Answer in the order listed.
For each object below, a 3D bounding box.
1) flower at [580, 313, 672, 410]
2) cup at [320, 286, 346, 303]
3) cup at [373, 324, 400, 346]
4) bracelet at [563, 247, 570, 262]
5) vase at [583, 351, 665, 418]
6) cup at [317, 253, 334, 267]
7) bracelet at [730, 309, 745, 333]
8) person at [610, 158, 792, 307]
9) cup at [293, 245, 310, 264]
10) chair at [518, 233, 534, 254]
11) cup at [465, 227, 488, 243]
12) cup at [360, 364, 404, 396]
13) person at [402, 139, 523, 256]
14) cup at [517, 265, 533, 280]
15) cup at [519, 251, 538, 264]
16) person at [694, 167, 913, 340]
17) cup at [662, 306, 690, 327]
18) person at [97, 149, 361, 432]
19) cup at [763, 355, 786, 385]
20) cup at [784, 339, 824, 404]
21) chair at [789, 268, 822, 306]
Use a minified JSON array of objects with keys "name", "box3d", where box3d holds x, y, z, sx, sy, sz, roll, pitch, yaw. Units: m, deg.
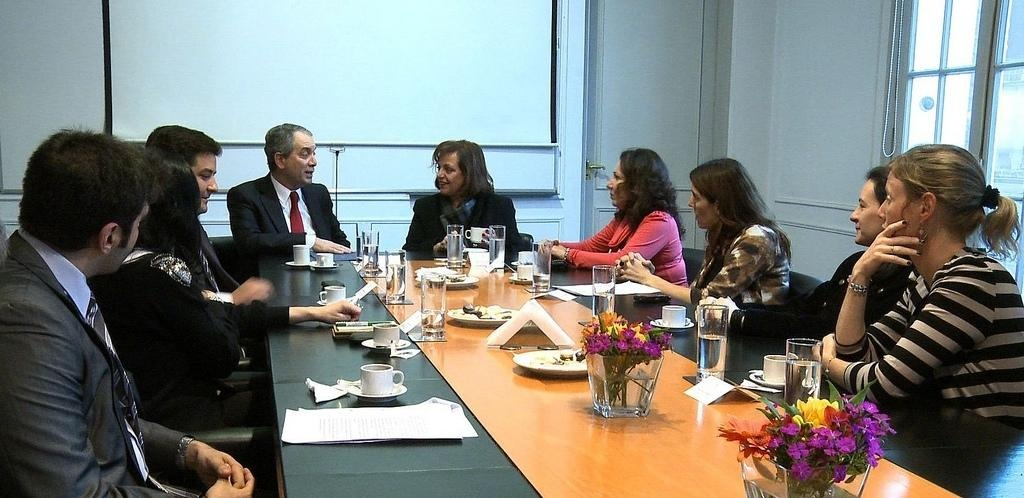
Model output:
[{"name":"flower","box3d":[0.487,0.452,2.848,0.448,0.386,0.418,2,5,20]},{"name":"cup","box3d":[-0.997,0.258,3.644,0.131,0.076,0.087,-1,4,-18]},{"name":"cup","box3d":[-0.614,0.420,3.179,0.114,0.073,0.114,3,11,-1]},{"name":"bracelet","box3d":[0.422,0.039,4.917,0.024,0.073,0.061,15,-29,-1]},{"name":"vase","box3d":[0.458,0.572,2.699,0.360,0.222,0.277,1,-5,-8]},{"name":"cup","box3d":[-1.308,0.081,4.620,0.129,0.074,0.089,-2,7,-10]},{"name":"bracelet","box3d":[1.181,0.384,3.446,0.119,0.099,0.082,0,-1,12]},{"name":"person","box3d":[1.222,-0.059,4.225,1.202,0.920,0.750,-7,15,-19]},{"name":"cup","box3d":[-1.494,0.049,4.645,0.144,0.116,0.125,-1,0,12]},{"name":"chair","box3d":[0.151,-0.052,5.764,0.188,0.194,0.189,0,-1,-17]},{"name":"cup","box3d":[-0.279,-0.113,5.282,0.182,0.103,0.106,0,1,13]},{"name":"cup","box3d":[-0.566,0.573,2.844,0.197,0.094,0.137,2,4,-13]},{"name":"person","box3d":[-0.397,-0.361,5.590,1.205,0.980,0.688,2,6,9]},{"name":"cup","box3d":[0.092,0.160,4.302,0.107,0.064,0.097,-1,5,-9]},{"name":"cup","box3d":[0.117,0.059,4.319,0.109,0.053,0.099,0,0,0]},{"name":"person","box3d":[1.816,0.053,3.780,1.157,0.983,0.788,1,10,35]},{"name":"cup","box3d":[0.873,0.364,3.485,0.132,0.082,0.128,-1,-2,0]},{"name":"person","box3d":[-1.538,0.240,3.545,1.241,1.921,0.713,-19,48,-33]},{"name":"cup","box3d":[1.181,0.532,2.908,0.104,0.089,0.129,-6,-26,26]},{"name":"cup","box3d":[1.177,0.505,2.624,0.160,0.230,0.149,3,0,0]},{"name":"chair","box3d":[1.843,0.230,4.146,0.151,0.140,0.154,1,15,-25]}]
